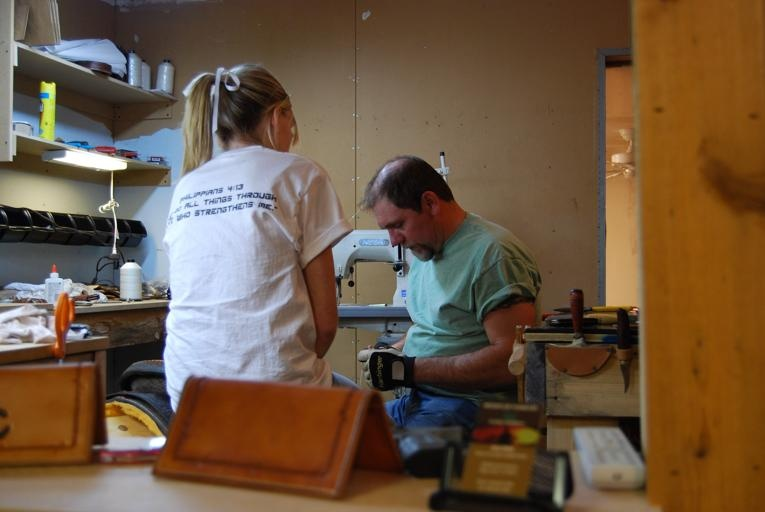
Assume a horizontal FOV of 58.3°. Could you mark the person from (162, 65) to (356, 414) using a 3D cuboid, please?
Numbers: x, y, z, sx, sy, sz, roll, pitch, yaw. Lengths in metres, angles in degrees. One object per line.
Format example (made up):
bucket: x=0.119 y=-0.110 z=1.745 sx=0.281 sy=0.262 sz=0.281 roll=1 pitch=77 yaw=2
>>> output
person: x=-0.370 y=-0.064 z=2.018 sx=0.513 sy=1.024 sz=0.299 roll=0 pitch=1 yaw=-20

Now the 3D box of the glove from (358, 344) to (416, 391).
glove: x=0.021 y=0.392 z=2.379 sx=0.179 sy=0.135 sz=0.085 roll=1 pitch=1 yaw=6

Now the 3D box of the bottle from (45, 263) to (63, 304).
bottle: x=-1.629 y=0.131 z=3.405 sx=0.078 sy=0.171 sz=0.265 roll=0 pitch=1 yaw=-25

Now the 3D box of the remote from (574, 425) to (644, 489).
remote: x=0.482 y=0.427 z=1.473 sx=0.137 sy=0.094 sz=0.181 roll=1 pitch=1 yaw=12

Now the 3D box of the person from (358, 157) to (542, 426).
person: x=0.218 y=0.107 z=2.430 sx=0.637 sy=0.956 sz=0.468 roll=1 pitch=1 yaw=18
